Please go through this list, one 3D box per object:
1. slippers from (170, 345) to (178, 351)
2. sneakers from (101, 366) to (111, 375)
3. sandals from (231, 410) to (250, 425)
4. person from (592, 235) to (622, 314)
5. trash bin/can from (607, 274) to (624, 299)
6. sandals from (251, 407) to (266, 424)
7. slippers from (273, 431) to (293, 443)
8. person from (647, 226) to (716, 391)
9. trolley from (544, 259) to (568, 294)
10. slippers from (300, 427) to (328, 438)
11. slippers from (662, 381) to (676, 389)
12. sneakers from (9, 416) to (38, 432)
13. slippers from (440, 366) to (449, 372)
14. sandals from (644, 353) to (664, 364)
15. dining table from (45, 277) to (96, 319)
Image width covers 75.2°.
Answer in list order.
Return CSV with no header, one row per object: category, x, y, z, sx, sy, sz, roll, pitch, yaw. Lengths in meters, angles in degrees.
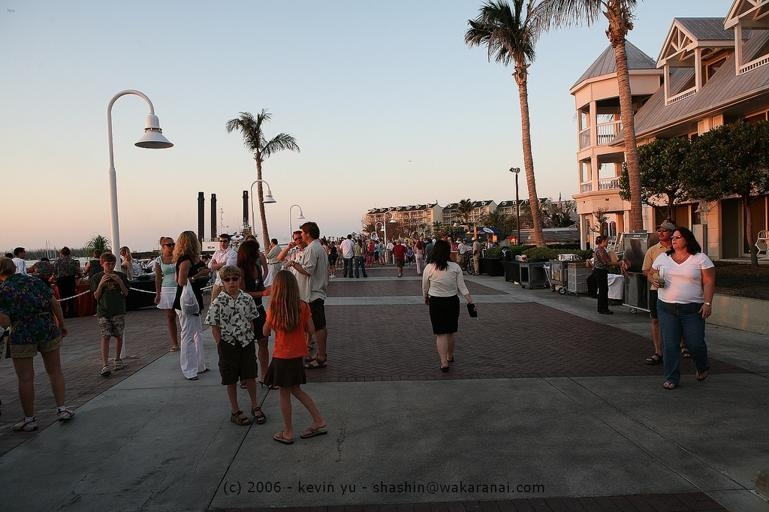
slippers,-4.204,1.859,10.046,0.086,0.091,0.237,0,-9,-9
sneakers,-4.728,1.937,8.511,0.138,0.156,0.218,-4,5,-30
sandals,-1.829,2.064,6.394,0.131,0.102,0.256,0,1,-42
person,5.865,0.454,13.465,0.499,2.094,1.093,0,4,22
trash bin/can,6.714,0.889,14.524,0.605,0.671,0.657,-2,2,3
sandals,-1.611,2.048,6.476,0.180,0.158,0.279,-3,5,-17
slippers,-1.194,2.134,5.866,0.194,0.082,0.116,4,2,20
person,4.384,0.733,7.379,0.799,2.319,0.752,-1,4,5
trolley,6.679,0.714,18.630,0.785,1.234,1.277,-10,5,-6
slippers,-0.839,2.093,6.034,0.329,0.117,0.127,-2,2,-13
slippers,4.140,1.857,7.254,0.189,0.102,0.142,0,5,19
sneakers,-4.635,2.156,6.419,0.374,0.171,0.161,2,4,-7
slippers,1.010,1.856,8.335,0.163,0.095,0.247,-1,5,6
sandals,4.627,1.750,8.557,0.373,0.143,0.140,1,3,-20
dining table,-10.150,1.380,15.900,1.502,1.040,1.477,1,-6,-39
